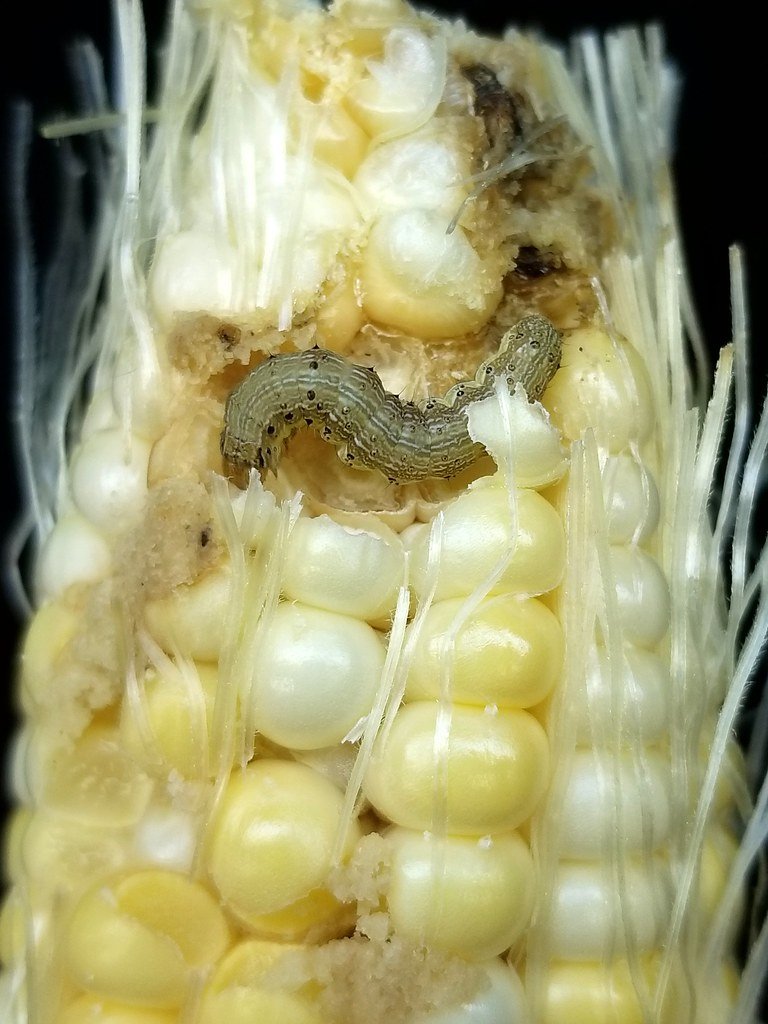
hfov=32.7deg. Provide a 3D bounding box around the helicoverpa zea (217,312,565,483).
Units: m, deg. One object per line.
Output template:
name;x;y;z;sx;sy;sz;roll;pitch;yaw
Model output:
helicoverpa zea;0.003;-0.121;1.414;0.316;0.168;0.080;-25;5;-6
